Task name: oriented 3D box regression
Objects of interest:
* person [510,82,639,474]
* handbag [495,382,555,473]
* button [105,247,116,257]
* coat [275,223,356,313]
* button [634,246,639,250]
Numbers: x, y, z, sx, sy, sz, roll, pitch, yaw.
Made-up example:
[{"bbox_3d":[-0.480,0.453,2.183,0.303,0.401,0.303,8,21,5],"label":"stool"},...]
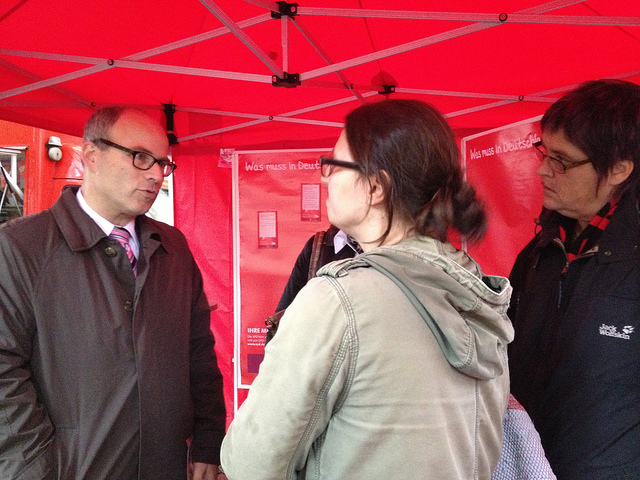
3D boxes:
[{"bbox_3d":[1.313,0.167,3.039,0.323,1.962,0.642,5,-4,-34],"label":"person"},{"bbox_3d":[0.814,0.811,2.414,0.144,0.483,0.467,-6,-21,35],"label":"handbag"},{"bbox_3d":[-1.095,0.062,3.085,0.039,0.049,0.020,-21,-19,-40],"label":"button"},{"bbox_3d":[-0.017,0.138,3.666,0.439,0.587,0.416,-2,12,-29],"label":"coat"},{"bbox_3d":[1.508,0.039,2.805,0.019,0.017,0.005,4,-3,34],"label":"button"}]
